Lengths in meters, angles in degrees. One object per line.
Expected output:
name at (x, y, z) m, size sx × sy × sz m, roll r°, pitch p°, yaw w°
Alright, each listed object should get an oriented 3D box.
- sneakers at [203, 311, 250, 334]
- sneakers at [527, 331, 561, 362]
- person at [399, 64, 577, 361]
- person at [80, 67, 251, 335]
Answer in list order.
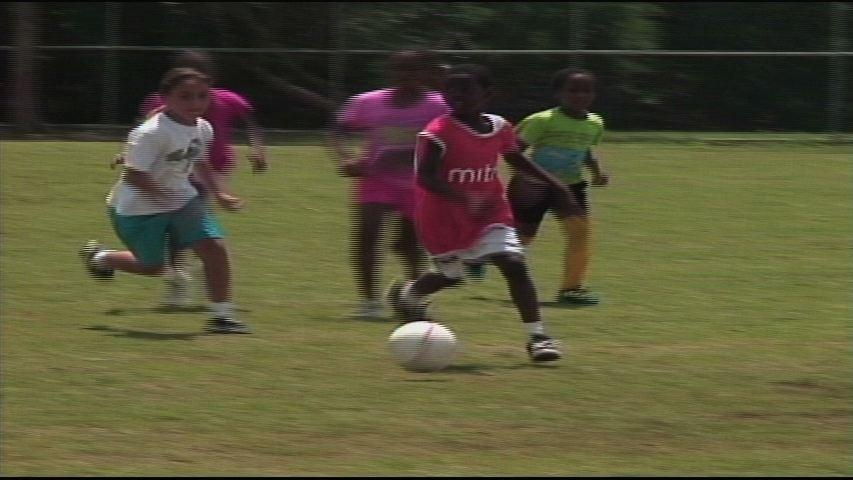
sneakers at (-1.297, 0.540, 6.083) m, size 0.320 × 0.117 × 0.159 m, roll 2°, pitch 7°, yaw 3°
sneakers at (0.706, 0.658, 5.676) m, size 0.214 × 0.176 × 0.077 m, roll 4°, pitch 10°, yaw 13°
person at (0.340, -0.168, 5.788) m, size 1.049 × 1.809 × 0.396 m, roll 11°, pitch 13°, yaw 34°
person at (-1.706, -0.271, 6.216) m, size 1.422 × 1.712 × 0.513 m, roll 9°, pitch 12°, yaw 34°
